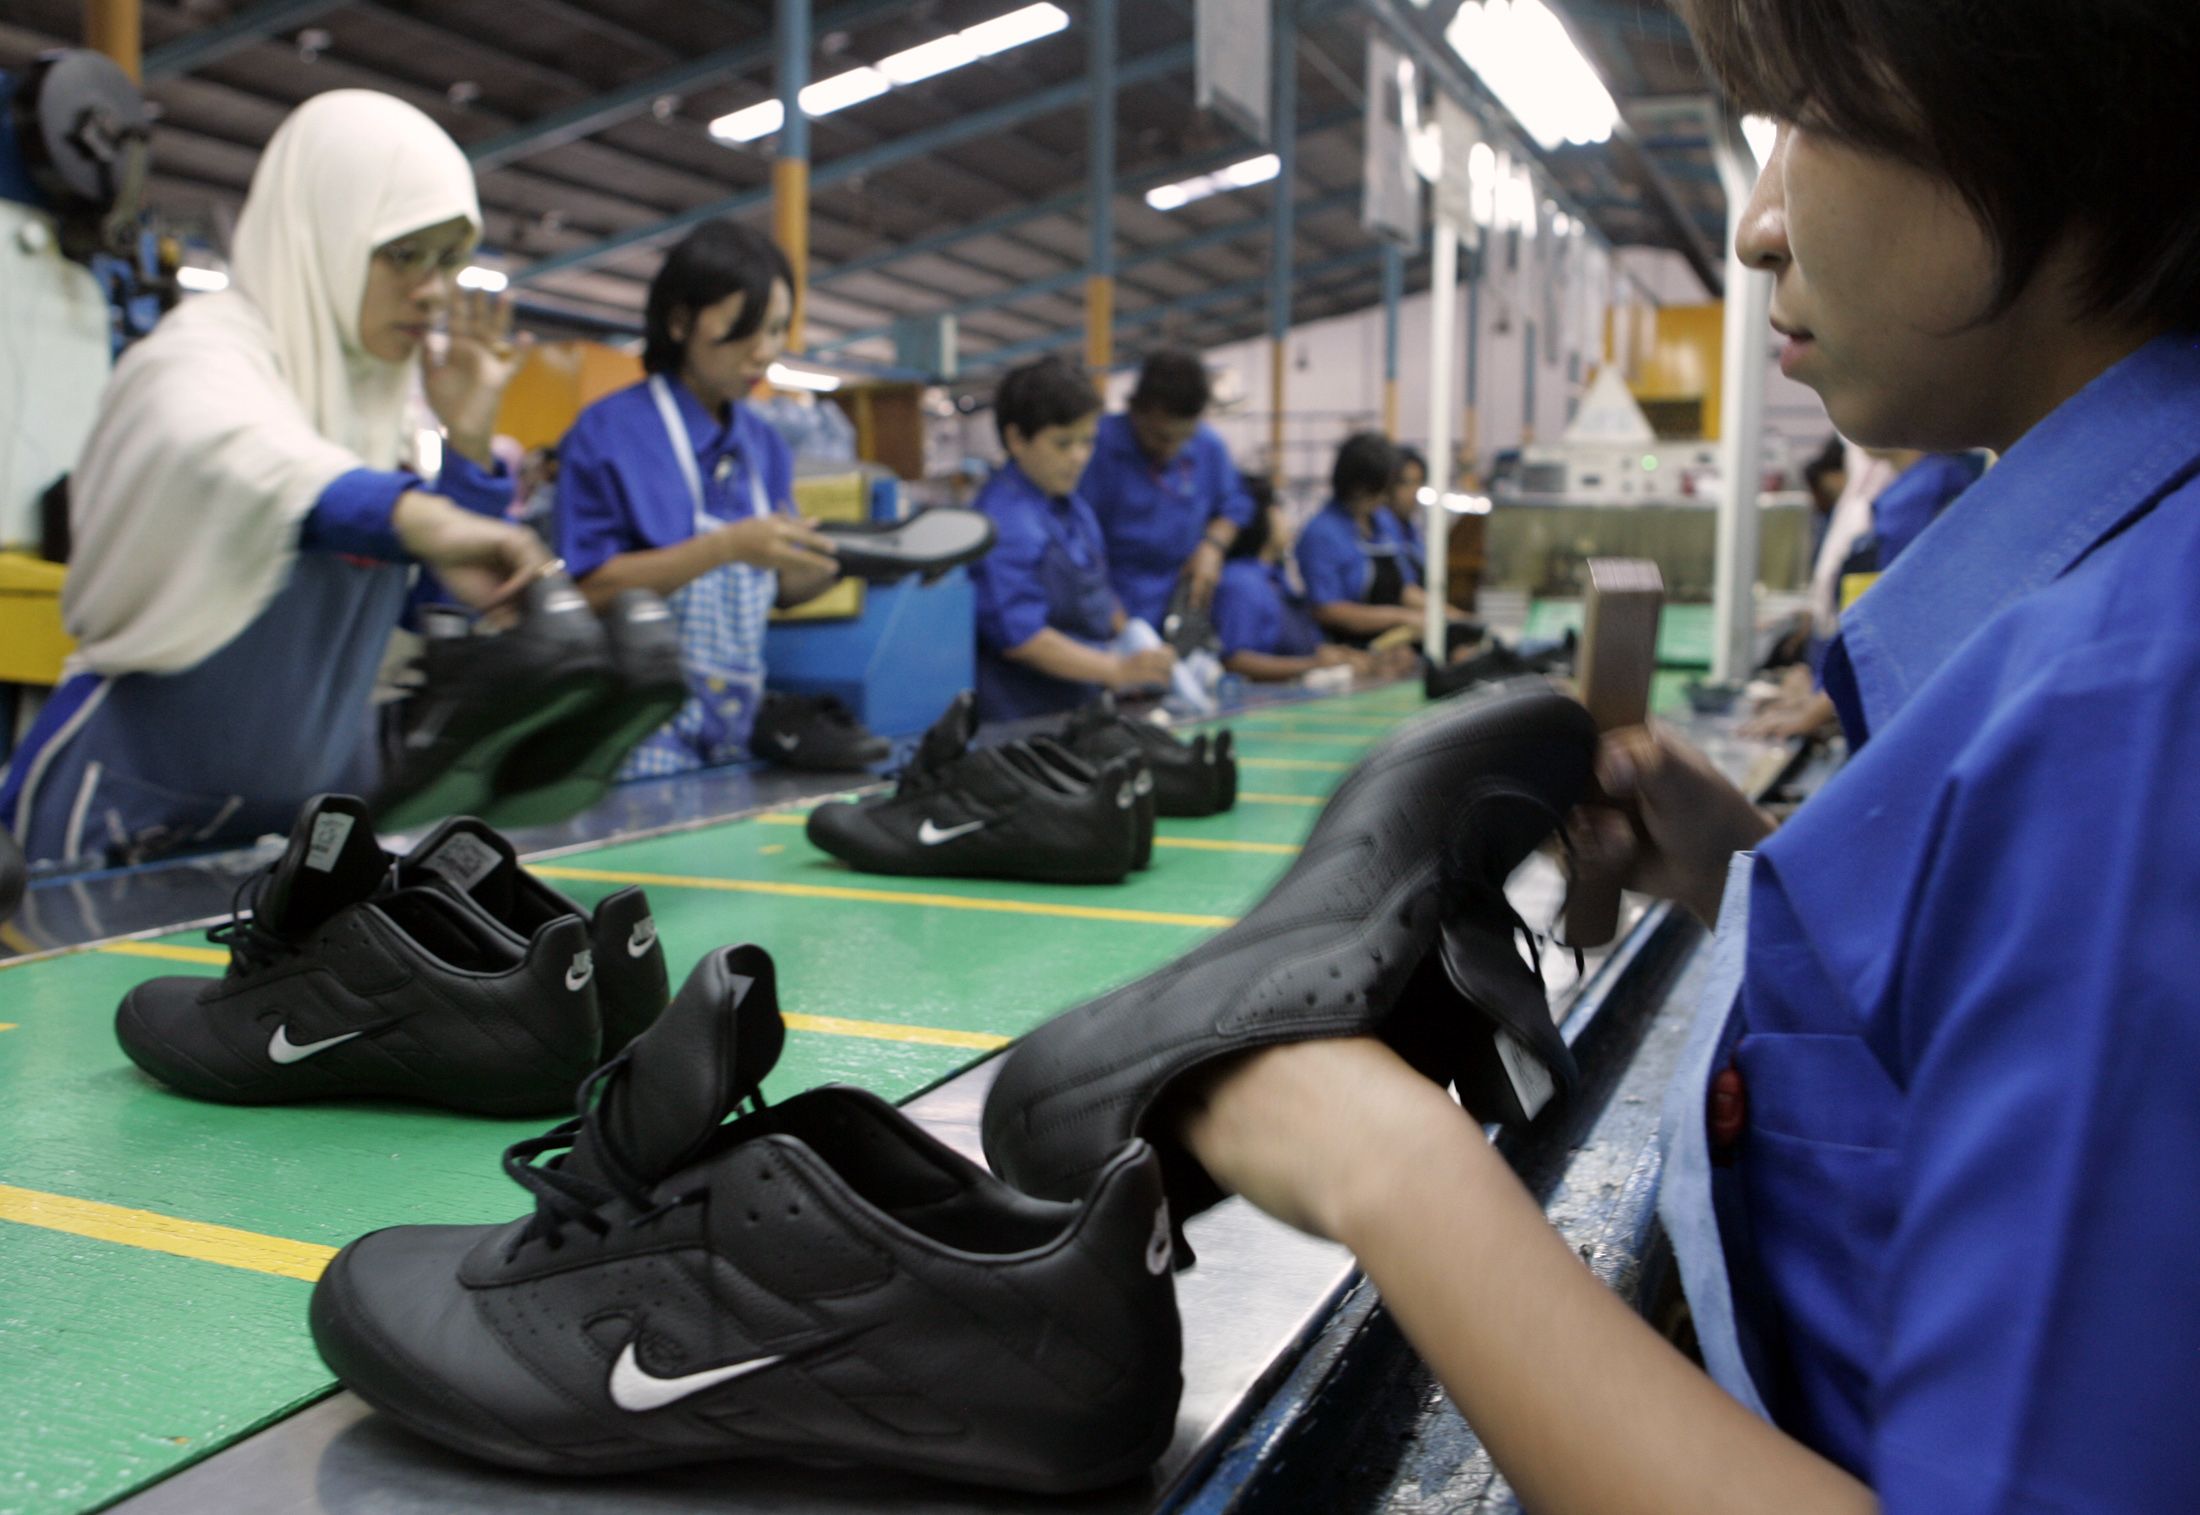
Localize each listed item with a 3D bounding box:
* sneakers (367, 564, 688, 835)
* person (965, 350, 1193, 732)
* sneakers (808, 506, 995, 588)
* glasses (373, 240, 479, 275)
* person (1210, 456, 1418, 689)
[{"bbox_3d":[-0.733,-0.087,2.009,0.254,0.165,0.423,12,-42,-46],"label":"sneakers"},{"bbox_3d":[-0.047,-0.644,4.868,0.729,1.429,0.952,0,27,4],"label":"person"},{"bbox_3d":[-0.425,-0.473,3.553,0.428,0.118,0.156,-5,43,-34],"label":"sneakers"},{"bbox_3d":[-1.046,-0.784,2.457,0.130,0.052,0.045,-1,-8,-9],"label":"glasses"},{"bbox_3d":[0.895,-0.810,6.938,0.957,1.335,0.889,-4,9,-3],"label":"person"}]
